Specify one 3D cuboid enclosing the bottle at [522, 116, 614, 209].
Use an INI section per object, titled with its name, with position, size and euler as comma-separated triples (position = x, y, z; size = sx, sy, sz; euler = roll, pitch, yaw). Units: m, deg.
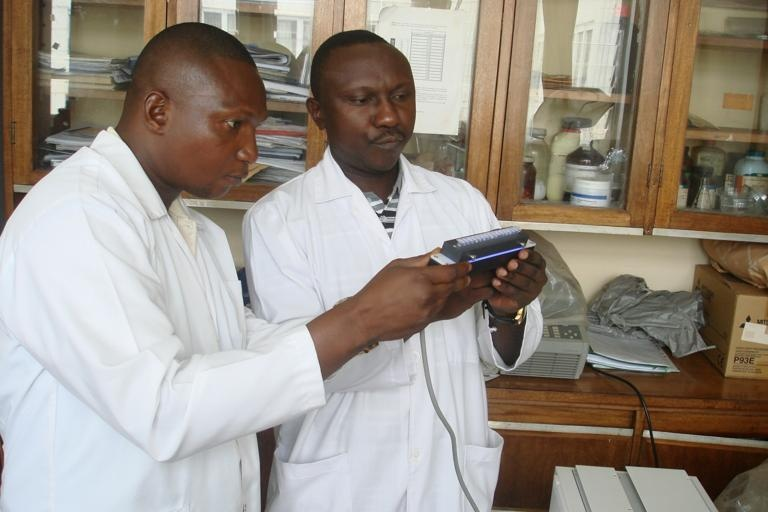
[bottle]
position = 0.615, -0.361, 2.365
size = 0.398, 0.378, 0.261
euler = -1, 8, -1
